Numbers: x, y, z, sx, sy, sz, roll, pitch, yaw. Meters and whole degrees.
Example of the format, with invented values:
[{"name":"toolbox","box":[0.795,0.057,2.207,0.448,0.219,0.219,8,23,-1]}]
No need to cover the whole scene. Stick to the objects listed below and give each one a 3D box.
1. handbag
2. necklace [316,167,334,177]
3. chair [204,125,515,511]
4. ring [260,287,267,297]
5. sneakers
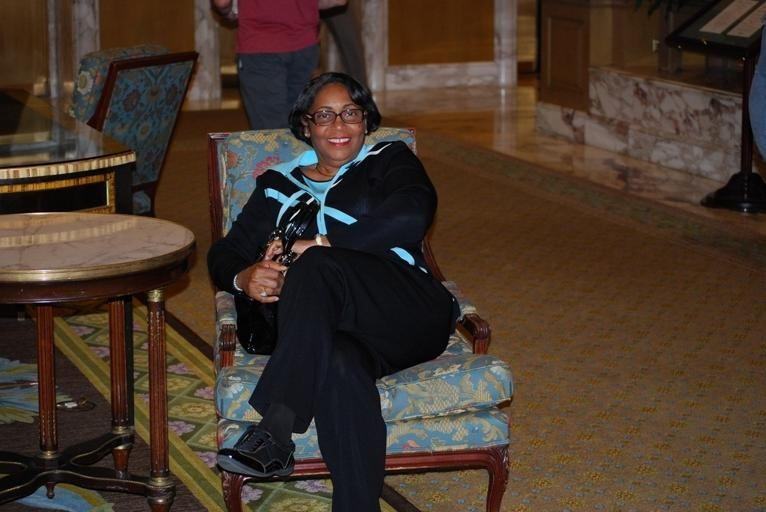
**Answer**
[{"name":"handbag","box":[-0.536,0.256,2.774,0.213,0.256,0.254,-4,14,-15]},{"name":"necklace","box":[-0.266,-0.391,3.102,0.045,0.021,0.060,0,-25,3]},{"name":"chair","box":[-0.128,0.133,3.394,1.489,1.526,2.139,0,11,-4]},{"name":"ring","box":[-0.470,0.143,2.656,0.028,0.026,0.007,4,11,1]},{"name":"sneakers","box":[-0.434,0.681,2.403,0.295,0.136,0.138,9,8,-35]}]
